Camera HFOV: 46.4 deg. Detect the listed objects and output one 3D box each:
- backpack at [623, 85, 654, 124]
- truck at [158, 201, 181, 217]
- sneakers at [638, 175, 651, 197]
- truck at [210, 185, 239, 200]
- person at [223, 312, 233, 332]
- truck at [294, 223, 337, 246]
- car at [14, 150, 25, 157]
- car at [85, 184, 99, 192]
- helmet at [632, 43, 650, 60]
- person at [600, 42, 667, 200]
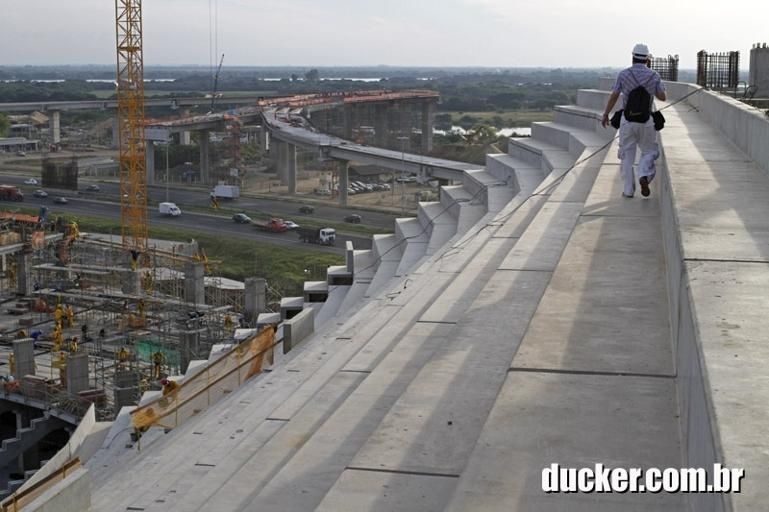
[{"bbox_3d":[3.795,-2.288,13.430,0.568,0.617,0.352,5,12,10],"label":"backpack"},{"bbox_3d":[-18.722,-3.963,76.598,2.108,0.941,1.173,3,14,27],"label":"truck"},{"bbox_3d":[4.040,-1.082,14.015,0.154,0.379,0.152,2,45,32],"label":"sneakers"},{"bbox_3d":[-15.412,-6.220,86.778,2.699,1.225,1.491,5,15,25],"label":"truck"},{"bbox_3d":[-6.656,2.812,38.184,0.357,0.531,0.897,-4,10,-10],"label":"person"},{"bbox_3d":[-4.999,-1.499,64.249,2.884,1.130,1.249,3,8,26],"label":"truck"},{"bbox_3d":[-48.974,-13.691,120.628,1.172,0.735,2.494,-5,5,-38],"label":"car"},{"bbox_3d":[-29.485,-6.819,90.173,1.657,0.663,0.986,10,14,30],"label":"car"},{"bbox_3d":[3.841,-3.039,13.411,0.186,0.204,0.216,5,12,31],"label":"helmet"},{"bbox_3d":[3.811,-2.011,13.655,0.844,2.312,0.750,1,11,12],"label":"person"}]
